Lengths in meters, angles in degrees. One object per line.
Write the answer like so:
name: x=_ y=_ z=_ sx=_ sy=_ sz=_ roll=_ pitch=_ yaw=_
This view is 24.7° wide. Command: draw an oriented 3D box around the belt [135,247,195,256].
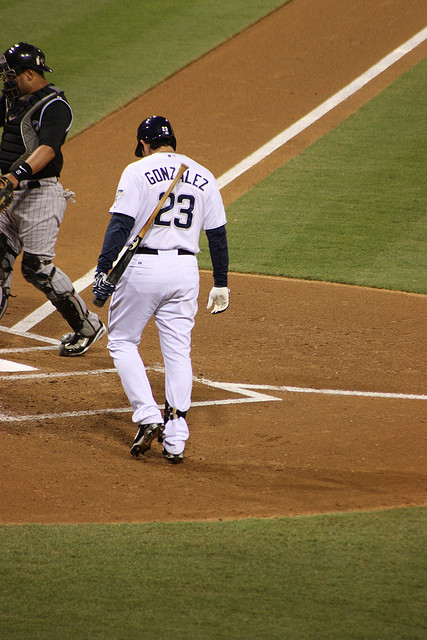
belt: x=-0.236 y=-0.344 z=4.896 sx=0.321 sy=0.054 sz=0.060 roll=-7 pitch=9 yaw=-33

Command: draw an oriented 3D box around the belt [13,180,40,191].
belt: x=-1.123 y=-0.806 z=5.844 sx=0.093 sy=0.037 sz=0.114 roll=-8 pitch=-10 yaw=1

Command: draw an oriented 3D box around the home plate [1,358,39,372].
home plate: x=-1.271 y=0.289 z=6.164 sx=0.201 sy=0.053 sz=0.249 roll=-8 pitch=9 yaw=-37

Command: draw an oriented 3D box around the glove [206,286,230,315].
glove: x=0.029 y=-0.103 z=5.302 sx=0.105 sy=0.163 sz=0.230 roll=-3 pitch=8 yaw=2

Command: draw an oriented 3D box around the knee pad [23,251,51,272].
knee pad: x=-1.110 y=-0.370 z=6.148 sx=0.152 sy=0.092 sz=0.104 roll=7 pitch=0 yaw=3

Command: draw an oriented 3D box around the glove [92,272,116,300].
glove: x=-0.551 y=-0.162 z=4.795 sx=0.120 sy=0.122 sz=0.066 roll=-3 pitch=3 yaw=-9
